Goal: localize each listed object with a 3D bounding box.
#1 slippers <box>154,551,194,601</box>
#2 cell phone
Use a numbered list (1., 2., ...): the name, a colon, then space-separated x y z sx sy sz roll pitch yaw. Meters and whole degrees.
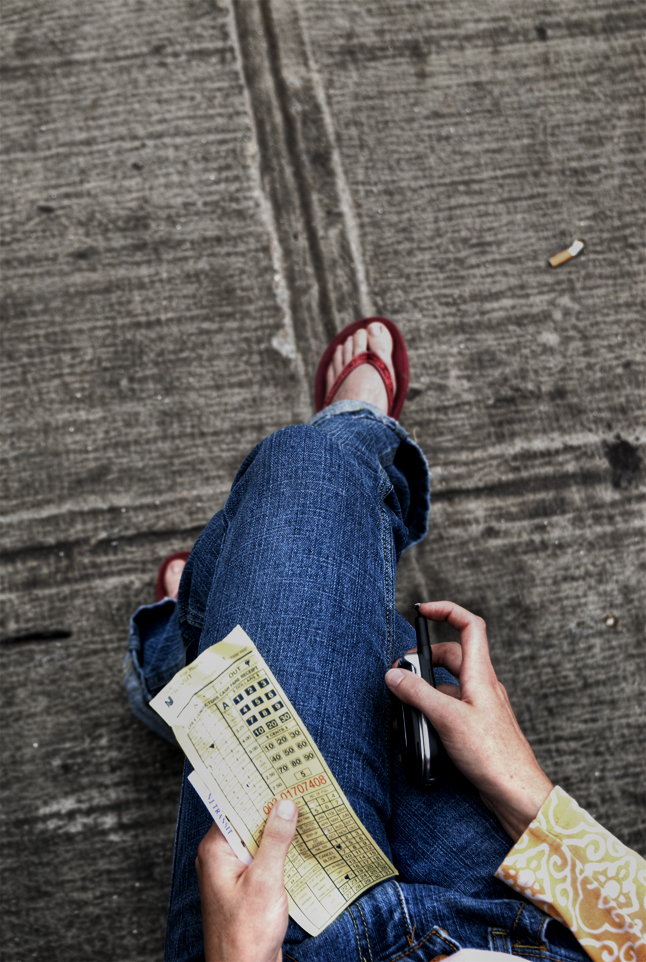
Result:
1. slippers: -0.330 0.196 2.181 0.065 0.052 0.147 13 85 -15
2. cell phone: 0.130 0.326 1.534 0.079 0.073 0.256 -10 72 13
